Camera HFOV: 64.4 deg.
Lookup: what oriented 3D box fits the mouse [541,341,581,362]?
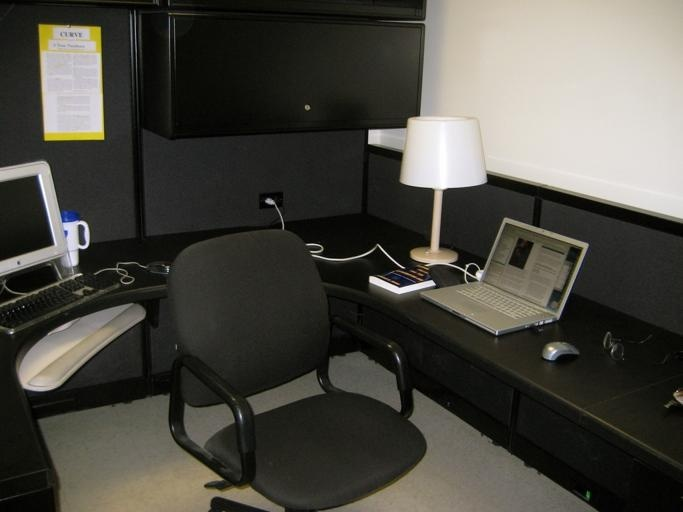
[{"bbox_3d":[0.702,0.291,1.725,0.110,0.042,0.056,-10,21,-18],"label":"mouse"}]

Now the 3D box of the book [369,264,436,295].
[{"bbox_3d":[0.272,0.101,2.216,0.180,0.038,0.128,-11,26,-31],"label":"book"}]

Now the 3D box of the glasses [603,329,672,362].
[{"bbox_3d":[0.964,0.307,1.790,0.132,0.046,0.128,2,13,32],"label":"glasses"}]

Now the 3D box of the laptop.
[{"bbox_3d":[0.608,0.097,2.034,0.468,0.319,0.459,-8,22,-23],"label":"laptop"}]
